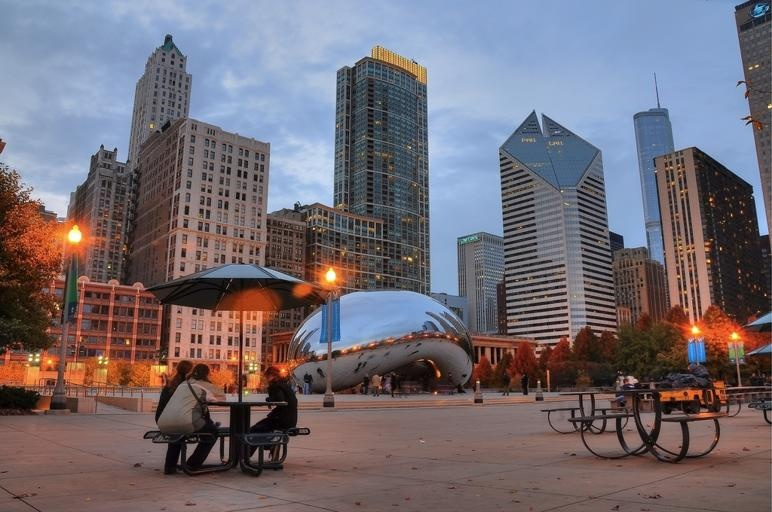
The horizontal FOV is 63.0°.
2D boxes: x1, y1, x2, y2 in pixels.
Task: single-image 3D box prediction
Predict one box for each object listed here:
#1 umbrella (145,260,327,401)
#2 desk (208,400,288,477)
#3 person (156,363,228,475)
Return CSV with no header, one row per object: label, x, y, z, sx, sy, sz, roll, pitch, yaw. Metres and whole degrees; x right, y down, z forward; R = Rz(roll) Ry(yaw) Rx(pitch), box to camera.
umbrella,-3.551,2.031,15.693,4.722,3.516,4.526,-6,-16,20
desk,-3.159,3.964,13.829,2.082,1.326,1.731,3,0,8
person,-4.188,3.386,13.472,1.301,2.241,0.685,4,-15,-15
